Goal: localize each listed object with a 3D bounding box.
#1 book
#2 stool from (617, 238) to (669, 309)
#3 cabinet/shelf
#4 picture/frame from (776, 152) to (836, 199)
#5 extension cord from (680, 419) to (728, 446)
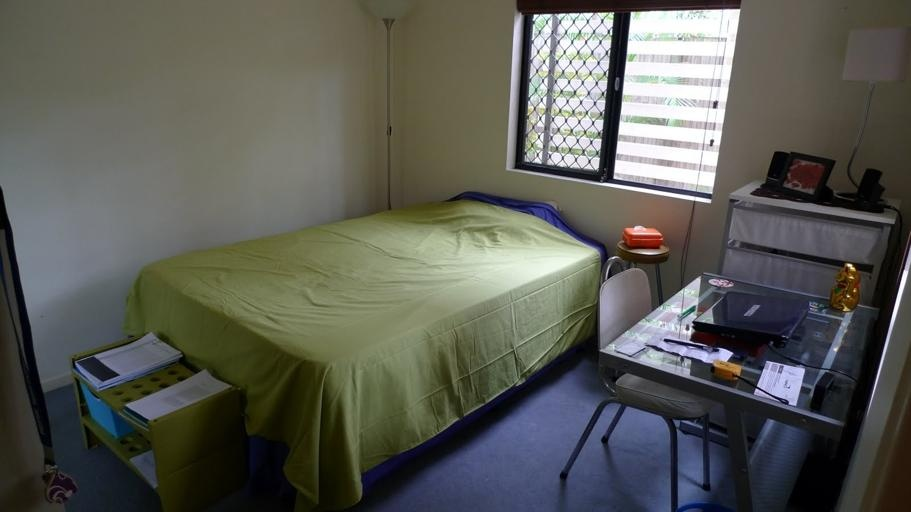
[{"bbox_3d":[-1.675,0.853,3.515,1.179,0.833,0.763,17,23,39],"label":"book"},{"bbox_3d":[1.477,0.023,4.407,0.276,0.719,0.486,2,2,37],"label":"stool"},{"bbox_3d":[2.252,-0.112,3.850,1.027,0.923,0.763,13,14,27],"label":"cabinet/shelf"},{"bbox_3d":[2.303,-0.528,3.733,0.330,0.321,0.090,18,-3,44],"label":"picture/frame"},{"bbox_3d":[1.636,1.165,3.791,0.204,0.053,0.191,15,22,39],"label":"extension cord"}]
